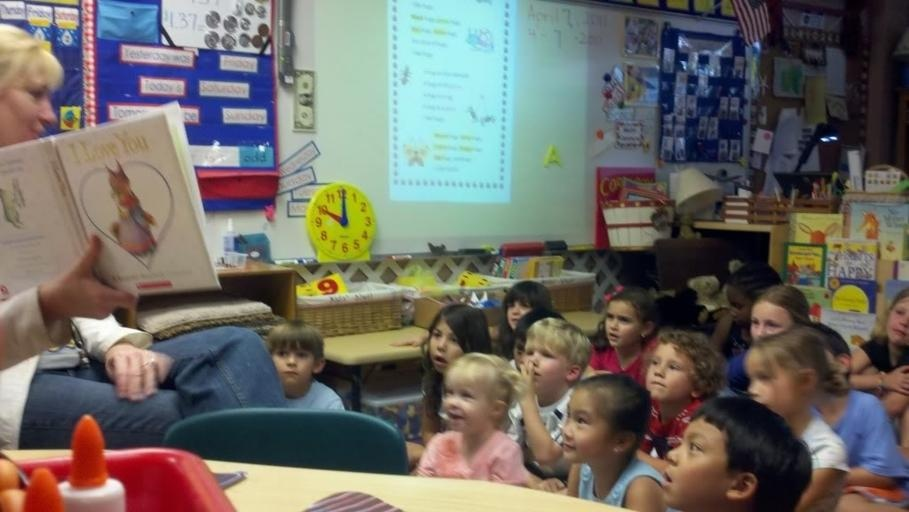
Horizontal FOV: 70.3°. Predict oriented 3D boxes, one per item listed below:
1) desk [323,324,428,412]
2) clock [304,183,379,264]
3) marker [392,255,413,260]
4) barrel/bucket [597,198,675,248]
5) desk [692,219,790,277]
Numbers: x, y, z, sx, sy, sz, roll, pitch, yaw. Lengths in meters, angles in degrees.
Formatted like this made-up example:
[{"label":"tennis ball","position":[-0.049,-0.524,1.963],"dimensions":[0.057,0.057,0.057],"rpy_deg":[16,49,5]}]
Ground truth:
[{"label":"desk","position":[-0.521,0.652,4.026],"dimensions":[0.458,0.305,0.676],"rpy_deg":[7,15,42]},{"label":"clock","position":[-0.781,-0.232,4.401],"dimensions":[0.557,0.511,0.077],"rpy_deg":[-4,4,-44]},{"label":"marker","position":[-0.387,0.003,4.575],"dimensions":[0.156,0.039,0.034],"rpy_deg":[-7,10,-29]},{"label":"barrel/bucket","position":[1.415,-0.240,5.058],"dimensions":[0.404,0.238,0.401],"rpy_deg":[0,-4,0]},{"label":"desk","position":[2.268,-0.162,4.971],"dimensions":[0.725,0.443,0.377],"rpy_deg":[3,3,43]}]
